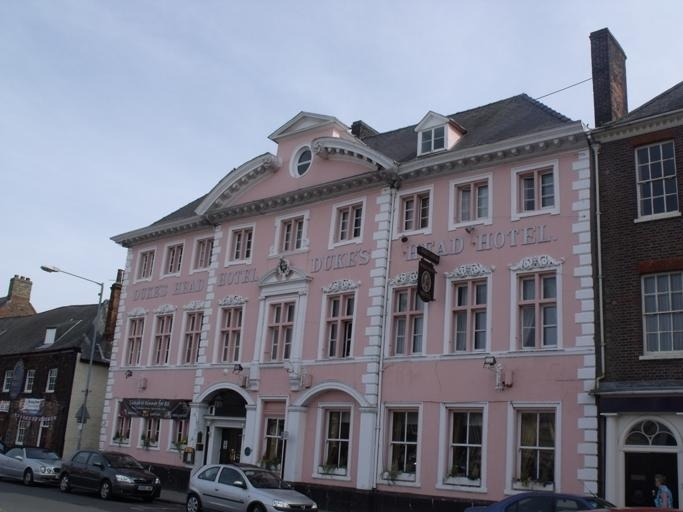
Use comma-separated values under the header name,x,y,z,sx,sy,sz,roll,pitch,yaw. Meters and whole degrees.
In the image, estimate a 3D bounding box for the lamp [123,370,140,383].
name,x,y,z,sx,sy,sz,roll,pitch,yaw
lamp,-11.582,6.550,35.554,0.774,0.656,0.181,-3,-1,30

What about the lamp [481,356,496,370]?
name,x,y,z,sx,sy,sz,roll,pitch,yaw
lamp,5.318,3.813,23.443,0.517,0.443,0.278,-11,-24,33

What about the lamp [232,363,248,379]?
name,x,y,z,sx,sy,sz,roll,pitch,yaw
lamp,-4.707,5.254,30.053,0.686,0.467,0.686,-6,-13,30
